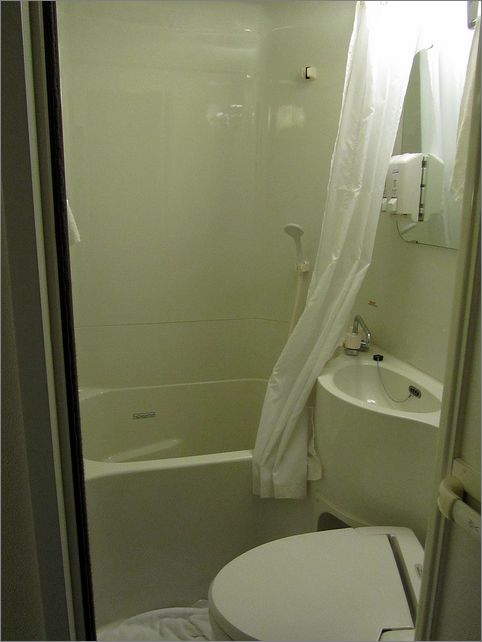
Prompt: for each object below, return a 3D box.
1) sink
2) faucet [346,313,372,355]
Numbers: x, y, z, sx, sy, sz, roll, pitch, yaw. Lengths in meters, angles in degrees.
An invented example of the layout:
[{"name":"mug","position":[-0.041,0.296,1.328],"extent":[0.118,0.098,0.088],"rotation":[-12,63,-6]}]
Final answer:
[{"name":"sink","position":[0.475,0.228,1.700],"extent":[0.351,0.115,0.178],"rotation":[12,17,39]},{"name":"faucet","position":[0.433,0.030,1.988],"extent":[0.084,0.128,0.294],"rotation":[4,14,15]}]
